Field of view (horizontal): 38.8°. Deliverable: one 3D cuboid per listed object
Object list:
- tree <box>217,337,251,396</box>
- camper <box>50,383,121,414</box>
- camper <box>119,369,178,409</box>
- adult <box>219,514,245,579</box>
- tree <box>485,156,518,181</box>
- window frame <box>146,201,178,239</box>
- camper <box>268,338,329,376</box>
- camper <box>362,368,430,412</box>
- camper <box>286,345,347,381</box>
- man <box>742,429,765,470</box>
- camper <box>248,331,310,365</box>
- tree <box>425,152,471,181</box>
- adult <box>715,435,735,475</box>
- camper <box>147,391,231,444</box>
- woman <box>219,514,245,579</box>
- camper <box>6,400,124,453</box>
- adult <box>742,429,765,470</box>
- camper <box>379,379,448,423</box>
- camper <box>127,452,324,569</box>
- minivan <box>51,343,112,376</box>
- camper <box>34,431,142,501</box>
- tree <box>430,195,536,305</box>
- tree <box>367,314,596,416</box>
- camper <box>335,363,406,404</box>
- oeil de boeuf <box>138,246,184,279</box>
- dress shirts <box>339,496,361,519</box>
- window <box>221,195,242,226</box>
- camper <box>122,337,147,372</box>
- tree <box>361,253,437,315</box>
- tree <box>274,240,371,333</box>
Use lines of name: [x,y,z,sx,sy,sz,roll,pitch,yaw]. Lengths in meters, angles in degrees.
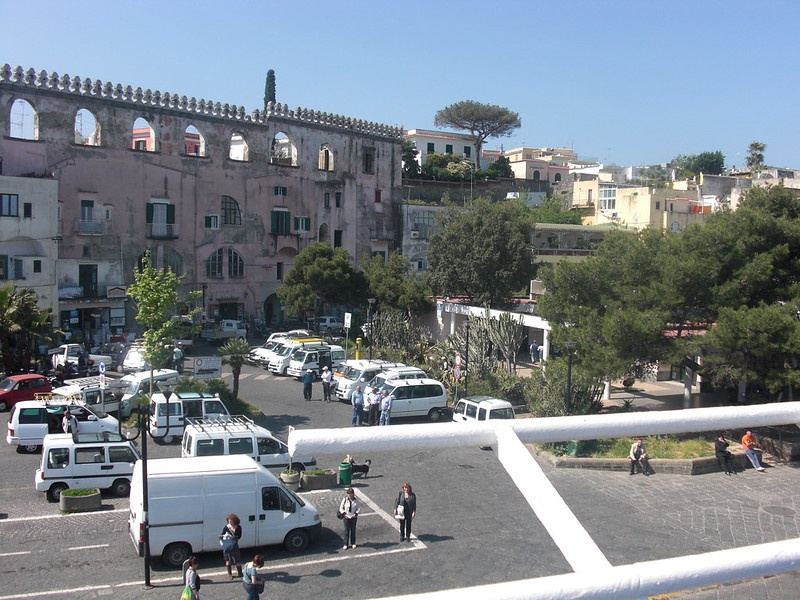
tree: [-8.234,3.477,56.778,1.264,2.896,1.667,-1,1,-10]
camper: [-14.596,4.584,53.132,1.523,1.531,2.665,-3,-7,31]
camper: [-12.315,4.189,55.475,3.051,1.861,2.024,-2,0,-41]
adult: [-6.198,8.988,41.711,0.722,2.338,0.881,-1,1,-10]
tree: [10.452,-13.815,118.847,2.782,3.642,2.737,-1,2,31]
window frame: [-16.595,-5.368,78.706,0.304,3.024,2.455,-4,-1,39]
camper: [-5.901,3.336,65.638,2.925,1.772,1.869,1,0,-38]
camper: [-0.326,4.294,56.907,2.684,1.644,1.609,2,-3,-28]
camper: [-4.748,3.615,64.445,2.706,1.647,1.753,-1,0,-34]
man: [15.063,6.482,48.720,0.851,1.521,1.487,0,1,17]
camper: [-7.574,2.885,68.426,1.664,1.602,2.996,3,3,33]
tree: [4.268,-12.846,112.857,3.503,2.261,3.608,0,3,-15]
adult: [13.758,6.600,48.194,0.776,1.523,0.861,0,1,37]
camper: [-9.018,5.388,51.603,3.652,2.186,2.190,-3,-1,7]
woman: [-6.198,8.988,41.726,0.757,2.338,0.912,-1,1,-5]
camper: [-15.032,5.387,50.308,4.108,1.985,2.384,-3,3,-23]
adult: [15.019,6.369,48.294,0.567,1.057,1.982,-5,23,-2]
camper: [0.595,4.875,55.874,2.815,1.405,1.667,2,-2,-22]
camper: [-6.908,7.670,43.397,6.090,3.196,3.410,-4,5,-21]
minivan: [-17.216,3.326,61.313,2.110,1.108,1.341,8,7,33]
camper: [-12.878,6.782,46.821,3.693,2.102,2.329,0,3,-18]
tree: [5.347,-3.034,75.986,6.587,6.999,2.405,0,1,25]
tree: [4.308,3.427,61.332,5.460,2.461,7.787,5,7,-26]
camper: [-1.595,4.253,58.831,3.089,1.907,1.742,1,-1,-30]
oeil de boeuf: [-15.304,-2.367,72.310,0.104,1.620,2.461,11,10,40]
dress shirts: [-1.940,7.820,42.852,0.740,0.794,0.349,-1,1,-4]
window: [-12.520,-6.480,83.662,0.090,2.522,2.119,3,4,33]
camper: [-14.209,2.996,60.207,1.698,1.793,3.258,0,-1,-9]
tree: [-0.017,0.055,79.729,4.103,4.119,4.678,10,13,24]
tree: [-5.500,-1.138,80.196,5.635,6.248,4.807,-2,0,-9]
